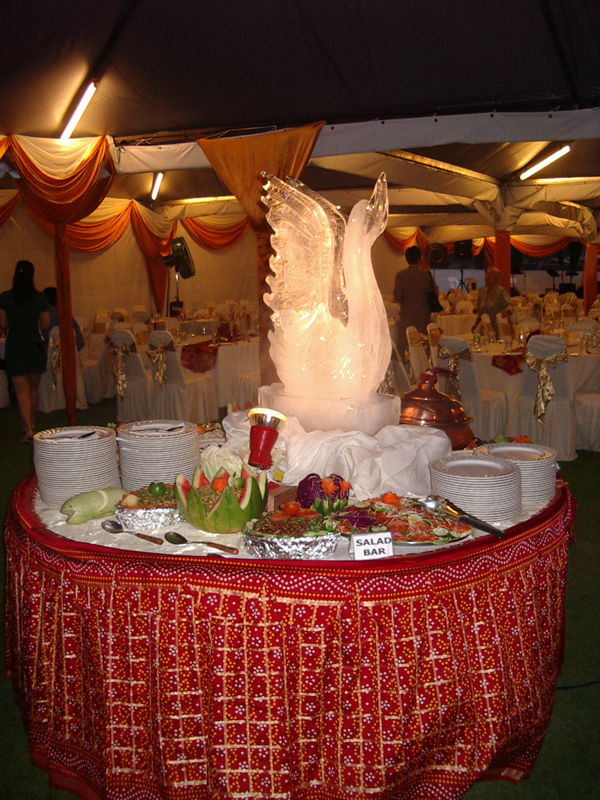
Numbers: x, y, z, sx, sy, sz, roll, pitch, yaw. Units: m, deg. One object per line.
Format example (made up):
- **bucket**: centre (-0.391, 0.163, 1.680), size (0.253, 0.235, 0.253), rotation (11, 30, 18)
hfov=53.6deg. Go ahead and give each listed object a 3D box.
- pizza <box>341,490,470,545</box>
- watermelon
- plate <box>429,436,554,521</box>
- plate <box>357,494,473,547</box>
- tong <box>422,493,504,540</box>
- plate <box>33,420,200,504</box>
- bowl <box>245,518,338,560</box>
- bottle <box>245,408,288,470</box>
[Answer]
- **pizza**: centre (0.243, 0.289, 1.471), size (0.219, 0.075, 0.195), rotation (-3, 14, -4)
- **watermelon**: centre (-0.214, 0.253, 1.549), size (0.249, 0.161, 0.272), rotation (5, -1, -33)
- **plate**: centre (0.493, 0.240, 1.600), size (0.180, 0.108, 0.316), rotation (6, 9, 37)
- **plate**: centre (0.295, 0.286, 1.458), size (0.199, 0.072, 0.192), rotation (-3, 13, 0)
- **tong**: centre (0.375, 0.272, 1.481), size (0.237, 0.054, 0.057), rotation (24, 43, 22)
- **plate**: centre (-0.534, 0.138, 1.805), size (0.298, 0.144, 0.359), rotation (0, 3, 21)
- **bowl**: centre (-0.013, 0.310, 1.348), size (0.176, 0.059, 0.169), rotation (-1, 12, 0)
- **bottle**: centre (-0.105, 0.114, 1.730), size (0.132, 0.164, 0.132), rotation (13, -4, -42)
